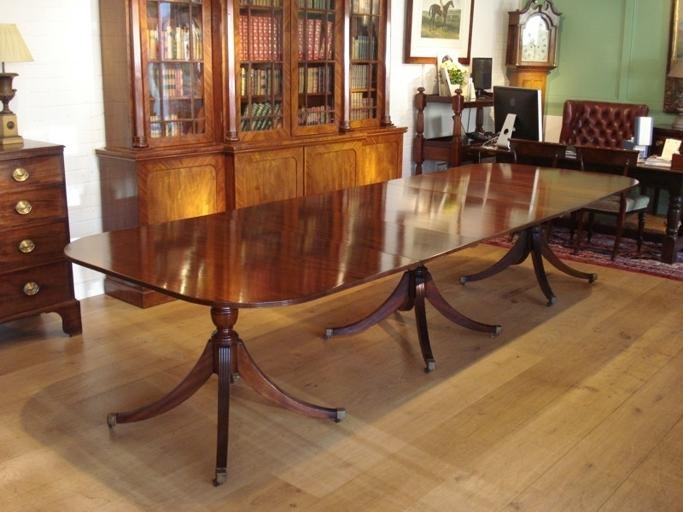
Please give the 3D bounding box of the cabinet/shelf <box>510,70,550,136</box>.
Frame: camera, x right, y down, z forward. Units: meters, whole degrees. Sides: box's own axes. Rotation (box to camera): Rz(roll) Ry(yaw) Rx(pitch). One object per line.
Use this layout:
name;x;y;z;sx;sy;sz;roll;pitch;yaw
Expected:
cabinet/shelf;2.534;-1.919;7.260;0.445;1.107;0.343;1;8;5

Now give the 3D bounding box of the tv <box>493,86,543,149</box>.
tv;1.721;-1.413;5.565;0.255;0.529;0.658;-18;27;-18

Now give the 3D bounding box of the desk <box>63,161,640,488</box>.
desk;0.242;0.167;3.165;2.937;0.938;1.228;-16;22;-41

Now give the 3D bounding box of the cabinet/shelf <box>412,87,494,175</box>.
cabinet/shelf;1.272;-1.468;6.407;0.618;0.874;1.095;9;22;22
